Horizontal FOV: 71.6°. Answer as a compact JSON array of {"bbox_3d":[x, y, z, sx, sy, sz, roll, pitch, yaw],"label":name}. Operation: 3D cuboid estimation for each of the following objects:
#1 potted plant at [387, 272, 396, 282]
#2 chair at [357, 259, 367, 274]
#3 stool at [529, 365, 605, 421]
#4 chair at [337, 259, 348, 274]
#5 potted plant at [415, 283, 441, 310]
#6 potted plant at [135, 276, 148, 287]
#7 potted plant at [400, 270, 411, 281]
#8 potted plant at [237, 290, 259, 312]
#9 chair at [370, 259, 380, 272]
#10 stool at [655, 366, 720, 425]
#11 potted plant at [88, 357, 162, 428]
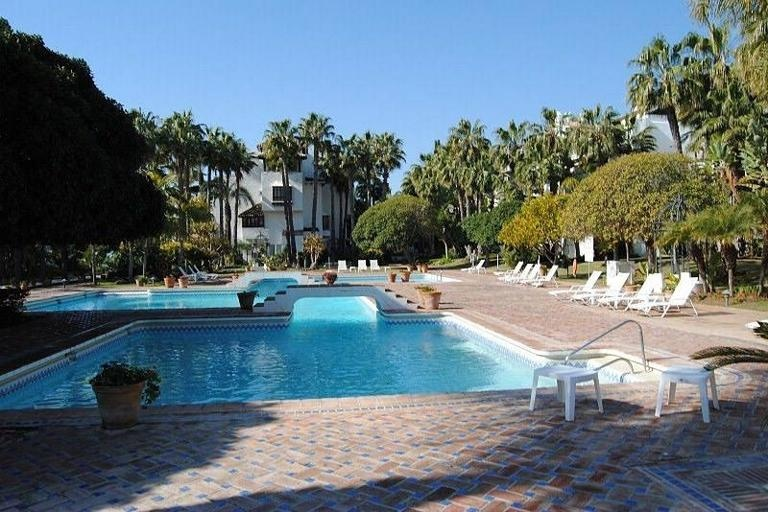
[{"bbox_3d":[0.486,1.278,32.140,0.461,0.460,0.492,0,-4,0],"label":"potted plant"},{"bbox_3d":[-1.770,0.830,42.949,0.658,1.123,0.999,0,-6,-3],"label":"chair"},{"bbox_3d":[3.141,2.222,9.330,0.917,0.796,0.929,1,-3,-33],"label":"stool"},{"bbox_3d":[-3.472,0.833,43.751,0.772,1.327,1.187,0,-5,-5],"label":"chair"},{"bbox_3d":[1.753,1.525,19.643,0.758,0.663,0.793,1,-3,-14],"label":"potted plant"},{"bbox_3d":[-14.408,1.475,31.115,0.730,0.696,0.791,1,-5,-12],"label":"potted plant"},{"bbox_3d":[1.327,1.202,32.430,0.546,0.498,0.583,0,-1,-18],"label":"potted plant"},{"bbox_3d":[-5.118,1.688,19.739,0.658,0.765,0.749,-2,-6,16],"label":"potted plant"},{"bbox_3d":[-0.590,0.733,43.529,0.769,1.296,0.880,0,-3,-16],"label":"chair"},{"bbox_3d":[5.164,2.195,9.037,0.913,0.872,1.244,1,6,34],"label":"stool"},{"bbox_3d":[-4.471,2.291,9.220,1.085,1.228,1.073,-3,-2,31],"label":"potted plant"}]
